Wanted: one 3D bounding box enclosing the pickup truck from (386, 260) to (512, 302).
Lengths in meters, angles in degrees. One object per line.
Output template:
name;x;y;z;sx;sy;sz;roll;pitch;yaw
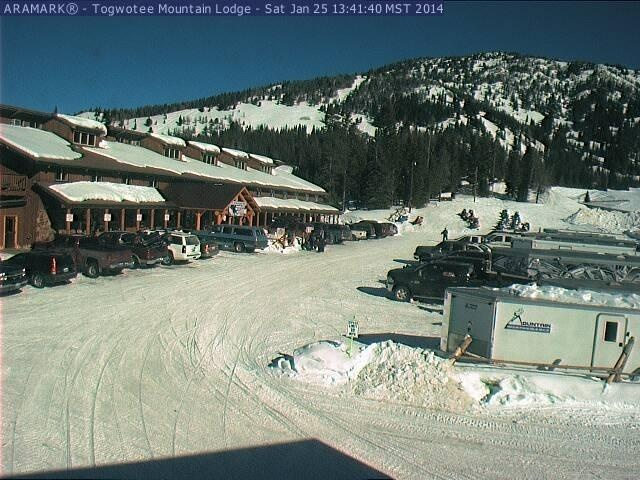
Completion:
pickup truck;5.208;1.765;24.154;3.776;1.521;2.161;3;5;22

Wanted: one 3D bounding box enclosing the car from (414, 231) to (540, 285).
car;7.384;1.075;27.434;1.968;2.031;5.501;-3;8;-34
